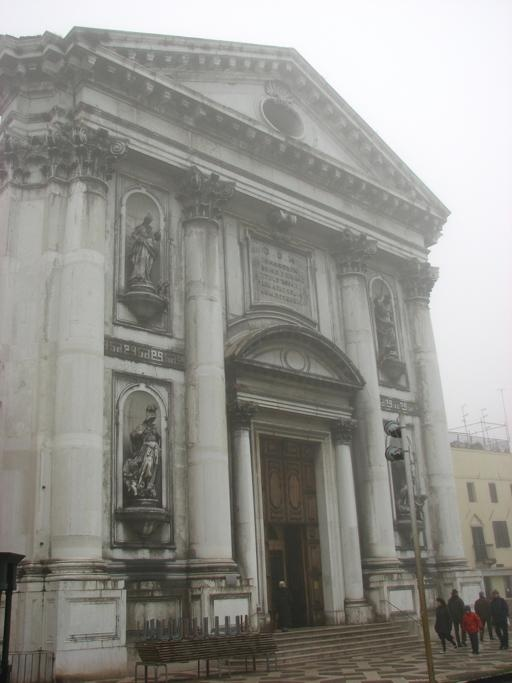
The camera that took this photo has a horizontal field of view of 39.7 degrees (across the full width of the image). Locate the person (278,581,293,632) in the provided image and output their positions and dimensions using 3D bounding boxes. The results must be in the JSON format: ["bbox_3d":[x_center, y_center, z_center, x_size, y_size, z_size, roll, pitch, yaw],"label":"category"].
[{"bbox_3d":[0.723,6.831,18.418,0.366,1.207,0.878,-4,-22,0],"label":"person"}]

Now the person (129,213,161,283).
[{"bbox_3d":[-2.921,-2.384,18.528,0.765,2.147,0.388,6,-24,-24],"label":"person"}]

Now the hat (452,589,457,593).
[{"bbox_3d":[5.423,6.830,19.517,0.161,0.037,0.154,12,-31,-16],"label":"hat"}]

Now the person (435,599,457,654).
[{"bbox_3d":[4.883,7.366,18.533,0.460,1.245,1.357,-9,-22,12],"label":"person"}]

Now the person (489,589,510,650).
[{"bbox_3d":[6.515,7.377,18.968,0.449,1.446,1.260,-10,-22,15],"label":"person"}]

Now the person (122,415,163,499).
[{"bbox_3d":[-2.648,2.615,16.781,0.372,2.260,1.091,-19,-26,33],"label":"person"}]
